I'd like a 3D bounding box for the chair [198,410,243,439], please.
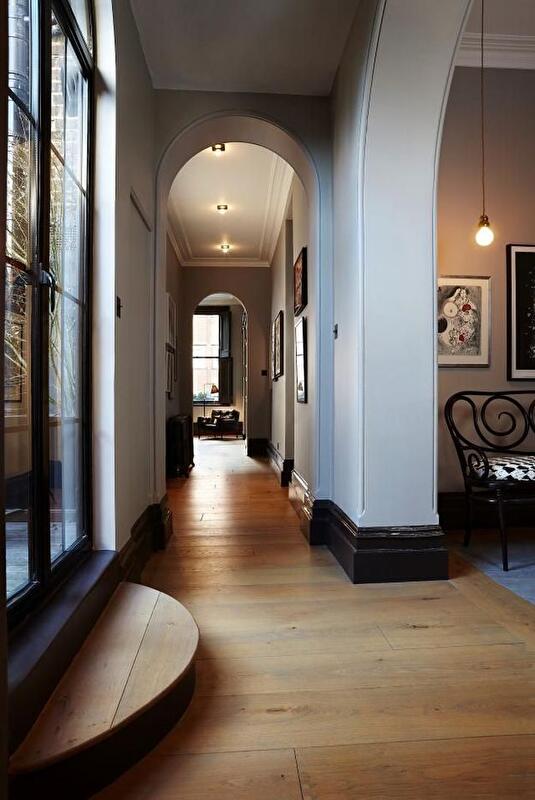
[{"bbox_3d":[-1.091,0.568,12.061,0.648,0.919,0.653,-3,-5,43],"label":"chair"}]
